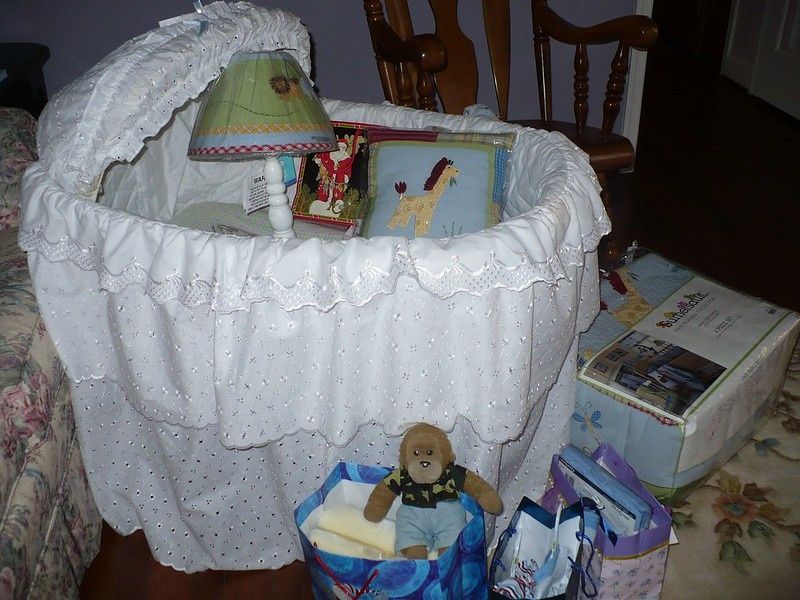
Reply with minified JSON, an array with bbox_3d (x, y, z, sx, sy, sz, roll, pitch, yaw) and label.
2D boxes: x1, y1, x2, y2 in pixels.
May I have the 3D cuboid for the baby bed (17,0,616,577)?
[{"bbox_3d":[-0.245,-0.118,1.933,1.517,1.493,1.296,7,41,7],"label":"baby bed"}]

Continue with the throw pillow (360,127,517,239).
[{"bbox_3d":[0.120,-0.315,1.686,0.321,0.082,0.327,2,65,8],"label":"throw pillow"}]

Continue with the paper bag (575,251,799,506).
[{"bbox_3d":[0.808,0.242,1.830,0.584,0.384,0.602,30,56,34],"label":"paper bag"}]

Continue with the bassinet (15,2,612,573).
[{"bbox_3d":[-0.274,-0.159,1.927,1.518,1.495,1.295,7,41,7],"label":"bassinet"}]
